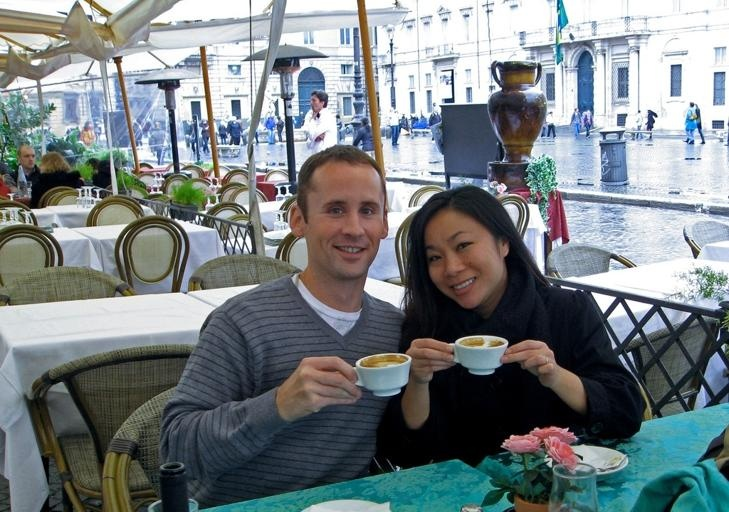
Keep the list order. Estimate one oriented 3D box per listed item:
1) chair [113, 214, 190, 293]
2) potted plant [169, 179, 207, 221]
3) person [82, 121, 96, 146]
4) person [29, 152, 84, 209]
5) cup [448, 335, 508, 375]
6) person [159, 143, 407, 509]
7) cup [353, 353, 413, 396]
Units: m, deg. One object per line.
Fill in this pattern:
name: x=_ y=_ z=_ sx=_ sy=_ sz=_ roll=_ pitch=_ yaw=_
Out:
chair: x=-2.301 y=0.005 z=6.061 sx=0.582 sy=1.017 sz=0.632 roll=-3 pitch=32 yaw=-20
potted plant: x=-2.634 y=-0.810 z=8.276 sx=0.492 sy=0.490 sz=0.358 roll=16 pitch=3 yaw=-38
person: x=-10.852 y=-4.875 z=21.892 sx=0.509 sy=0.965 sz=0.974 roll=-4 pitch=8 yaw=-23
person: x=-5.645 y=-1.450 z=10.143 sx=0.819 sy=1.163 sz=0.524 roll=2 pitch=16 yaw=-41
cup: x=0.358 y=0.326 z=1.786 sx=0.183 sy=0.103 sz=0.161 roll=-1 pitch=1 yaw=14
person: x=-0.285 y=0.234 z=1.948 sx=0.704 sy=1.238 sz=0.692 roll=2 pitch=8 yaw=17
cup: x=0.059 y=0.342 z=1.612 sx=0.109 sy=0.081 sz=0.153 roll=-2 pitch=-10 yaw=-13
